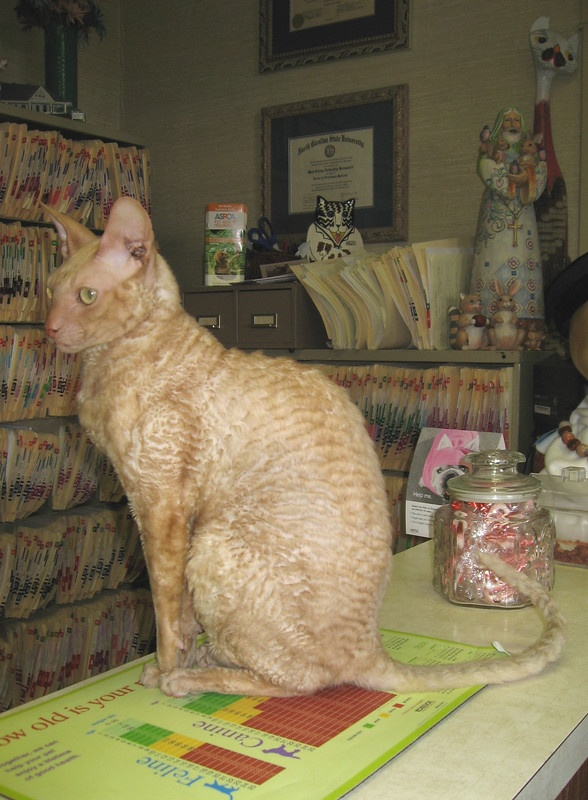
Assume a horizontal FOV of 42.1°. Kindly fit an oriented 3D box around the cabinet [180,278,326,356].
[{"bbox_3d":[-0.083,-0.234,2.163,0.367,0.161,0.178,9,34,33],"label":"cabinet"}]

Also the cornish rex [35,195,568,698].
[{"bbox_3d":[-0.002,0.054,0.750,0.607,0.436,0.190,7,4,16],"label":"cornish rex"}]
